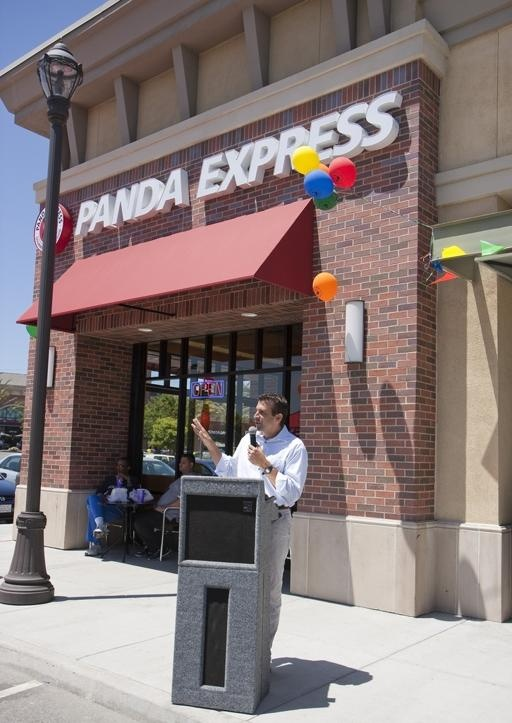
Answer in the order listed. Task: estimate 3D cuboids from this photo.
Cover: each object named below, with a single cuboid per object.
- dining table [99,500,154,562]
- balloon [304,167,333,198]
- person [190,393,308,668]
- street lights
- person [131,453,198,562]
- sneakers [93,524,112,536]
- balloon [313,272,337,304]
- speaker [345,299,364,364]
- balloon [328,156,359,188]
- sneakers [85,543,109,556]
[{"bbox_3d":[-2.086,2.441,10.222,0.615,0.681,0.605,4,-29,-46],"label":"dining table"},{"bbox_3d":[0.609,-1.733,6.255,0.206,0.216,0.247,31,13,-36],"label":"balloon"},{"bbox_3d":[-0.018,1.063,4.151,0.666,1.711,1.145,1,-10,3],"label":"person"},{"bbox_3d":[-2.203,-0.610,6.802,0.577,6.033,0.883,4,-10,-16],"label":"street lights"},{"bbox_3d":[-1.355,2.109,9.637,0.814,1.478,0.796,4,3,-13],"label":"person"},{"bbox_3d":[-2.270,2.499,9.512,0.126,0.169,0.379,-2,-28,-1],"label":"sneakers"},{"bbox_3d":[0.729,-0.819,6.932,0.232,0.278,0.249,2,-10,-3],"label":"balloon"},{"bbox_3d":[1.093,-0.328,7.222,0.224,0.692,0.126,-3,-10,23],"label":"speaker"},{"bbox_3d":[0.846,-1.898,6.448,0.258,0.344,0.274,1,-10,6],"label":"balloon"},{"bbox_3d":[-2.444,2.869,9.878,0.253,0.250,0.126,29,-30,-28],"label":"sneakers"}]
